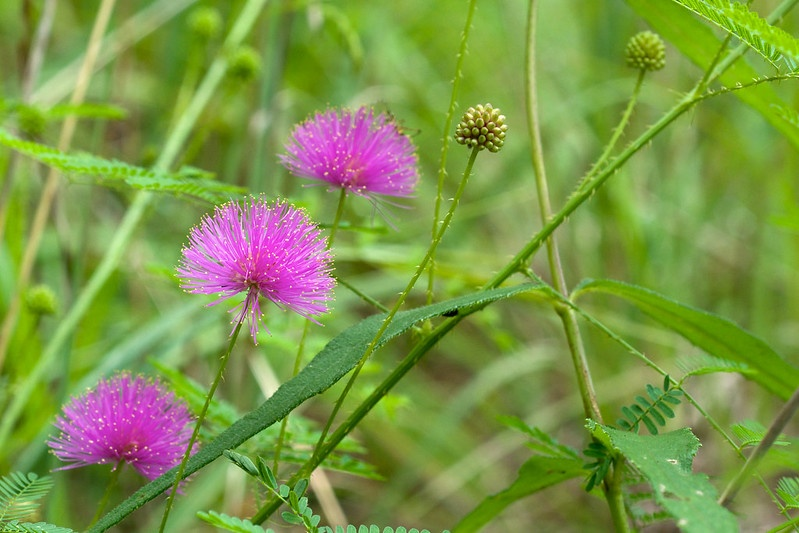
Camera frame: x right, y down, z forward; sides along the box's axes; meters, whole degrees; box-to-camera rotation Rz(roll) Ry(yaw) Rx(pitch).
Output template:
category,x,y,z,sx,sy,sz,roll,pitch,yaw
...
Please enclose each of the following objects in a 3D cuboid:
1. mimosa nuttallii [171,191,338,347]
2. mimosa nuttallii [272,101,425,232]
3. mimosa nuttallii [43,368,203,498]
category,x,y,z,sx,sy,sz,roll,pitch,yaw
mimosa nuttallii,-0.186,-0.007,0.947,0.130,0.156,0.138,5,3,37
mimosa nuttallii,-0.078,-0.149,1.050,0.154,0.143,0.138,6,-2,-33
mimosa nuttallii,-0.372,0.207,1.006,0.168,0.102,0.160,7,1,10
